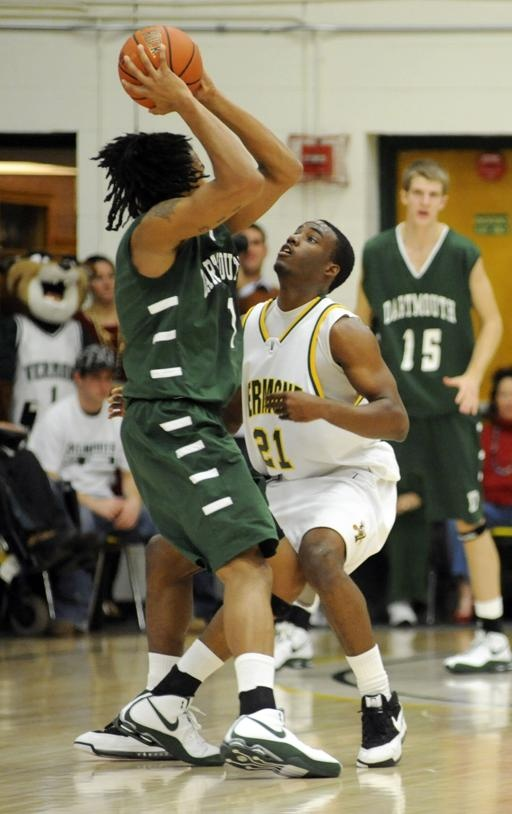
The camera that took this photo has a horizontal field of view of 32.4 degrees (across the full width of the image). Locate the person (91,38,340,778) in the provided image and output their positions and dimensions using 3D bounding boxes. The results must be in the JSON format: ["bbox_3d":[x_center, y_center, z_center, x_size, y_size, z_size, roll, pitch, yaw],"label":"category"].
[{"bbox_3d":[-0.085,0.046,1.824,0.442,1.509,0.661,-1,6,-12],"label":"person"}]

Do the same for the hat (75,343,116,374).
[{"bbox_3d":[-0.829,-0.263,4.693,0.194,0.173,0.141,-11,12,2],"label":"hat"}]

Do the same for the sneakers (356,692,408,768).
[{"bbox_3d":[0.278,0.697,1.902,0.069,0.092,0.198,-6,3,10],"label":"sneakers"}]

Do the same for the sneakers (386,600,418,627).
[{"bbox_3d":[0.799,1.134,4.935,0.184,0.134,0.258,4,2,-4],"label":"sneakers"}]
